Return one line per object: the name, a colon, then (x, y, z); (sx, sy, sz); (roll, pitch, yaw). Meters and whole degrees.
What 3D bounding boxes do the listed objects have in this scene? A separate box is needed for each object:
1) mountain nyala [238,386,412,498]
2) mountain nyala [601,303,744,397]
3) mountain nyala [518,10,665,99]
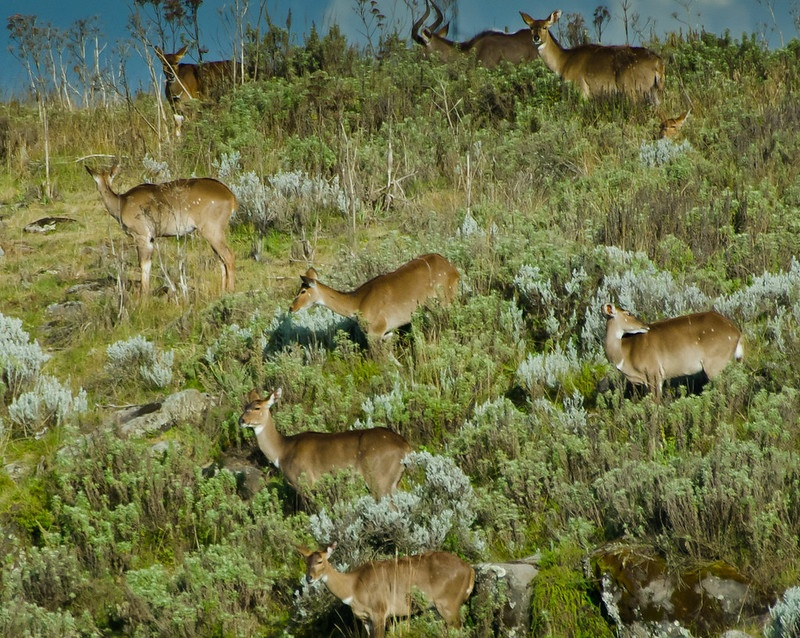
mountain nyala: (-0.618, 1.110, 9.137); (1.392, 1.070, 0.415); (-9, 11, 4)
mountain nyala: (2.426, 0.152, 9.301); (1.289, 0.940, 0.261); (-13, 12, -12)
mountain nyala: (3.012, -3.701, 16.652); (2.174, 2.303, 0.780); (5, 10, 16)
